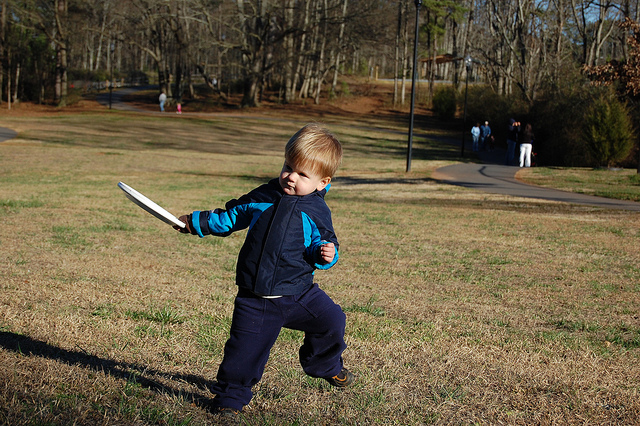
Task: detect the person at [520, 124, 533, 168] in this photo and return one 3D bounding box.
[{"bbox_3d":[8.519,-2.770,27.538,0.491,1.709,0.874,6,7,16],"label":"person"}]

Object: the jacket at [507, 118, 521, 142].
[{"bbox_3d":[8.259,-3.498,28.339,0.434,0.894,0.678,7,7,17],"label":"jacket"}]

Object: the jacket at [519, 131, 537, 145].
[{"bbox_3d":[8.704,-3.169,27.990,0.834,0.484,0.806,-5,38,12],"label":"jacket"}]
